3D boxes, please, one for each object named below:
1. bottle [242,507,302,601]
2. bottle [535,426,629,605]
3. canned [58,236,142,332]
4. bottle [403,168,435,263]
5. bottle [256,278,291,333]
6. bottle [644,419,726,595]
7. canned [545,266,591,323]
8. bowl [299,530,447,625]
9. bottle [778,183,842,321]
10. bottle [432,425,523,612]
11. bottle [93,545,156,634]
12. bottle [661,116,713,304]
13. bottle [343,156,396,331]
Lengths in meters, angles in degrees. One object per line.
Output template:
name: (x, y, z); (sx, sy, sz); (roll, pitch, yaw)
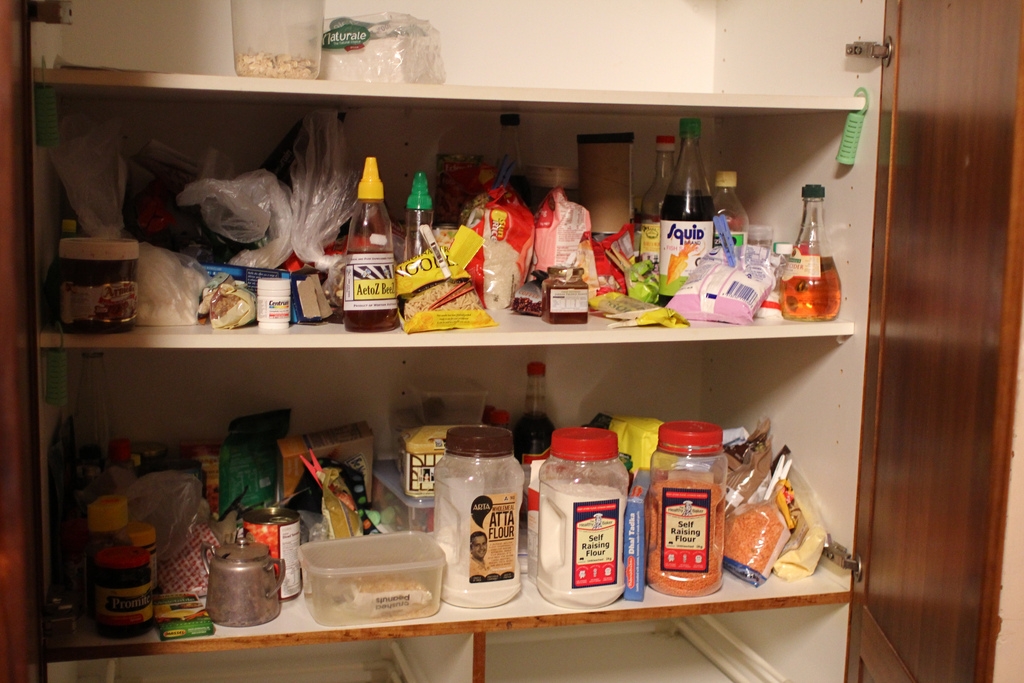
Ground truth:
bottle: (-0.495, 0.453, 1.712); (0.109, 0.171, 0.110); (-3, -5, 0)
bottle: (0.146, 0.388, 1.703); (0.186, 0.299, 0.115); (-1, 7, 8)
canned: (-0.778, -0.105, 1.554); (0.144, 0.159, 0.142); (-3, 8, -33)
bottle: (-0.201, -0.267, 1.741); (0.056, 0.181, 0.112); (-3, 7, -9)
bottle: (-0.479, -0.076, 1.656); (0.070, 0.104, 0.071); (1, 5, 0)
bottle: (0.386, 0.349, 1.766); (0.209, 0.348, 0.142); (-3, 7, -5)
canned: (0.114, -0.093, 1.773); (0.110, 0.131, 0.095); (0, 4, -6)
bowl: (-0.283, 0.469, 1.671); (0.223, 0.097, 0.158); (-3, 10, -14)
bottle: (0.647, -0.187, 1.780); (0.114, 0.275, 0.088); (-3, 7, -2)
bottle: (-0.067, 0.372, 1.754); (0.215, 0.352, 0.215); (1, -2, 0)
bottle: (-0.750, 0.483, 1.594); (0.134, 0.155, 0.134); (-1, 6, -26)
bottle: (0.397, -0.301, 1.867); (0.119, 0.414, 0.150); (4, 9, 40)
bottle: (-0.285, -0.192, 1.630); (0.105, 0.336, 0.095); (-3, 7, -7)
